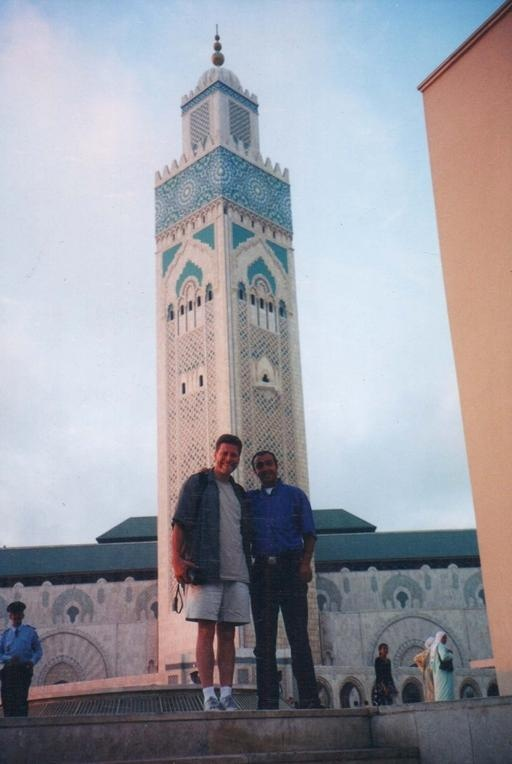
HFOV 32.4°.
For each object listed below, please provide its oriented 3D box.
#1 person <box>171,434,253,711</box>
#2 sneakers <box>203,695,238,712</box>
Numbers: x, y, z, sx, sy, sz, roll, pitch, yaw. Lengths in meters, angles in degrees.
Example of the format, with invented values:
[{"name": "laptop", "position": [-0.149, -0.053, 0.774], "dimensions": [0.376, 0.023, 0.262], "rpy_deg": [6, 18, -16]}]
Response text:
[{"name": "person", "position": [-0.218, 0.930, 4.465], "dimensions": [0.339, 1.372, 0.566], "rpy_deg": [-10, -15, 26]}, {"name": "sneakers", "position": [-0.163, 1.523, 4.095], "dimensions": [0.103, 0.087, 0.204], "rpy_deg": [12, -25, -12]}]
